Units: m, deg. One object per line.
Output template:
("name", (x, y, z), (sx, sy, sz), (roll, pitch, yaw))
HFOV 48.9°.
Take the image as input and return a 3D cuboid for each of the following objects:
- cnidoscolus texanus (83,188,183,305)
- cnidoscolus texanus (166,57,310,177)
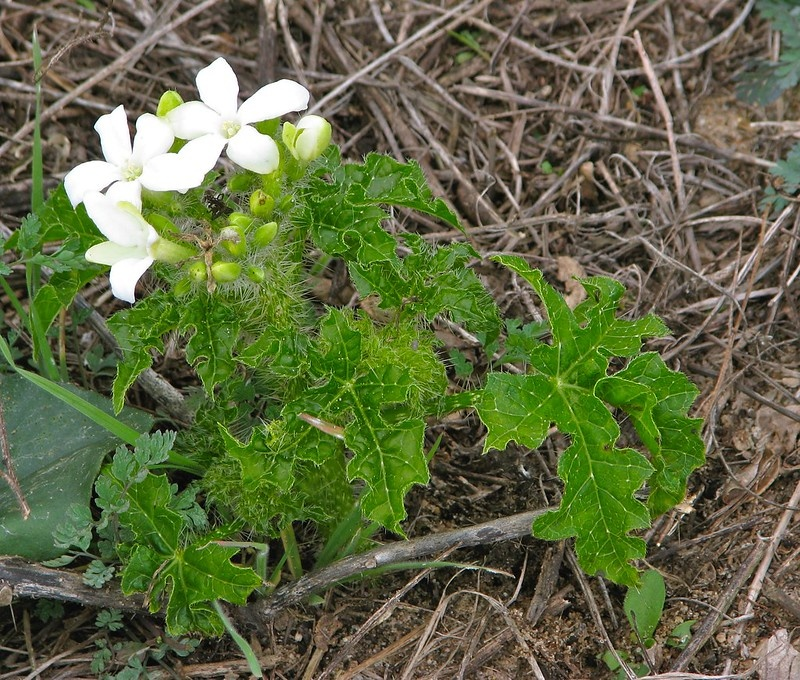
("cnidoscolus texanus", (-0.964, -0.351, 3.195), (0.327, 0.364, 0.153), (9, 29, -29))
("cnidoscolus texanus", (-0.639, -0.817, 3.348), (0.468, 0.250, 0.460), (26, 59, 17))
